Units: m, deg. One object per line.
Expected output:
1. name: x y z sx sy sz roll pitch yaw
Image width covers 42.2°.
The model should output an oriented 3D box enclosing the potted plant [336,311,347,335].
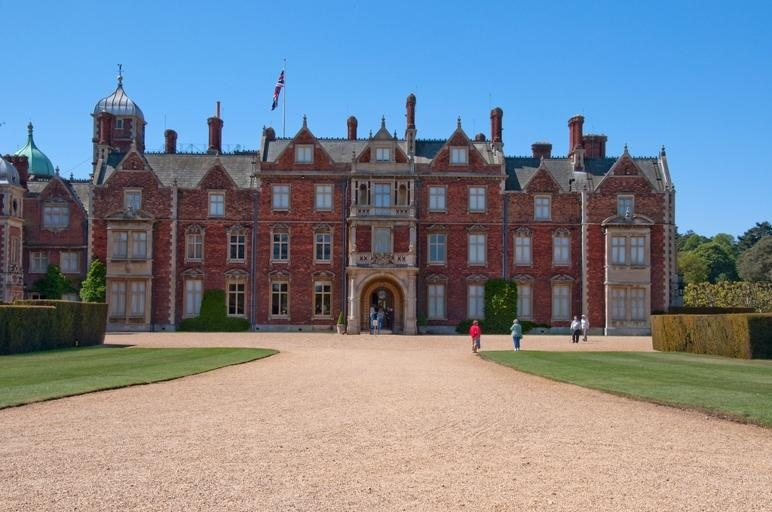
1. potted plant: -2.845 4.344 65.248 0.593 1.067 1.506 0 14 -4

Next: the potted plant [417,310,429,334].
1. potted plant: 2.471 4.395 65.767 0.655 1.278 1.006 1 14 2
